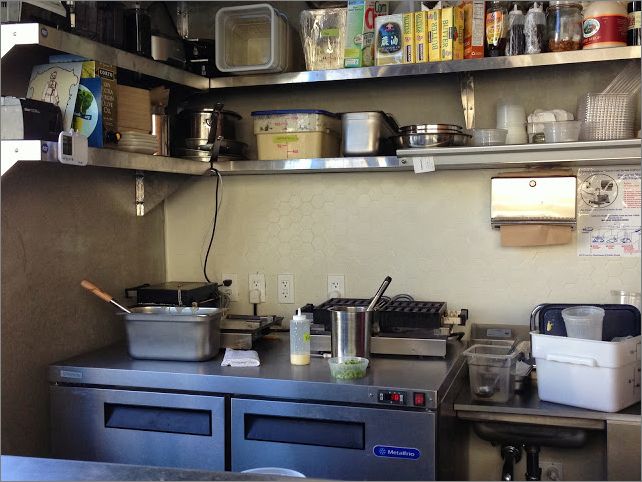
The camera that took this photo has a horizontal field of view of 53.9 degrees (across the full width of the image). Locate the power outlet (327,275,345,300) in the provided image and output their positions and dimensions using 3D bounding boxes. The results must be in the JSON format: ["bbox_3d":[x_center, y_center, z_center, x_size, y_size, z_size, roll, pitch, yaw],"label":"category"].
[{"bbox_3d":[0.080,0.234,3.253,0.119,0.170,0.018,0,-1,16],"label":"power outlet"}]

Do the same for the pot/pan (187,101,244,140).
[{"bbox_3d":[-0.551,-0.589,3.169,0.318,0.193,0.474,-1,-1,-15],"label":"pot/pan"}]

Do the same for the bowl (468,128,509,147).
[{"bbox_3d":[0.750,-0.461,2.801,0.143,0.089,0.146,-1,3,0],"label":"bowl"}]

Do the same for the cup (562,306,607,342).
[{"bbox_3d":[1.051,0.327,2.505,0.138,0.149,0.151,-3,0,0],"label":"cup"}]

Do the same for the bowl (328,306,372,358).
[{"bbox_3d":[0.115,0.387,2.729,0.198,0.228,0.209,-1,11,0],"label":"bowl"}]

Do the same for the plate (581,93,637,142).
[{"bbox_3d":[1.230,-0.514,2.770,0.217,0.216,0.225,2,2,11],"label":"plate"}]

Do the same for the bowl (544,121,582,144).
[{"bbox_3d":[1.022,-0.466,2.674,0.106,0.073,0.109,1,-2,0],"label":"bowl"}]

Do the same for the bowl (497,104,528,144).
[{"bbox_3d":[0.876,-0.544,2.897,0.131,0.193,0.095,0,3,17],"label":"bowl"}]

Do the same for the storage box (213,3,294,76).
[{"bbox_3d":[-0.319,-0.938,3.114,0.288,0.295,0.409,0,1,12],"label":"storage box"}]

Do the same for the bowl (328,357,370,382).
[{"bbox_3d":[0.118,0.513,2.576,0.170,0.067,0.166,-1,3,0],"label":"bowl"}]

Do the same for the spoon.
[{"bbox_3d":[0.710,0.521,2.609,0.234,0.257,0.216,2,-2,-17],"label":"spoon"}]

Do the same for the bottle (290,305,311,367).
[{"bbox_3d":[-0.089,0.411,2.725,0.088,0.234,0.162,-1,3,-2],"label":"bottle"}]

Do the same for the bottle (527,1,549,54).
[{"bbox_3d":[0.925,-0.928,2.738,0.081,0.217,0.041,0,3,8],"label":"bottle"}]

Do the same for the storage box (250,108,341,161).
[{"bbox_3d":[-0.097,-0.523,3.176,0.408,0.211,0.333,5,6,33],"label":"storage box"}]

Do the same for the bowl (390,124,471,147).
[{"bbox_3d":[0.507,-0.480,2.861,0.330,0.123,0.139,0,3,6],"label":"bowl"}]
